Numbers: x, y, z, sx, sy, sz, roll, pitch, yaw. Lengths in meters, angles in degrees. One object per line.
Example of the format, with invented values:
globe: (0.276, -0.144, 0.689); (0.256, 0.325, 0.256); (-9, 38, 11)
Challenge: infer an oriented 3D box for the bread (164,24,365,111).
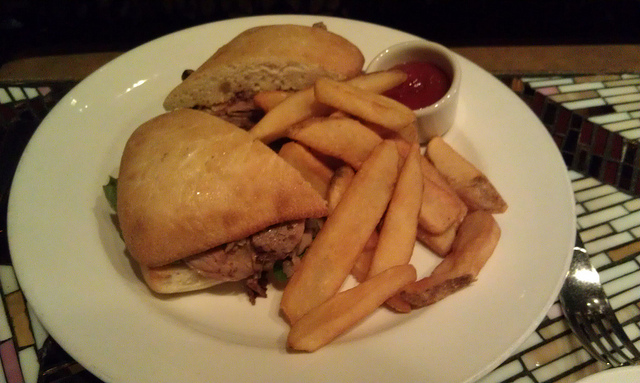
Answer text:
bread: (-0.338, -0.842, 3.634); (1.240, 0.402, 0.612); (-4, 34, 8)

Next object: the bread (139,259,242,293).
bread: (-0.883, 0.581, 3.697); (0.669, 0.160, 0.662); (4, -17, -24)

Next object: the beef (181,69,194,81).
beef: (-0.934, -0.818, 3.816); (0.067, 0.069, 0.037); (-6, 24, -10)

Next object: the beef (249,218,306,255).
beef: (-0.300, 0.296, 3.389); (0.376, 0.288, 0.110); (-5, 30, 8)
